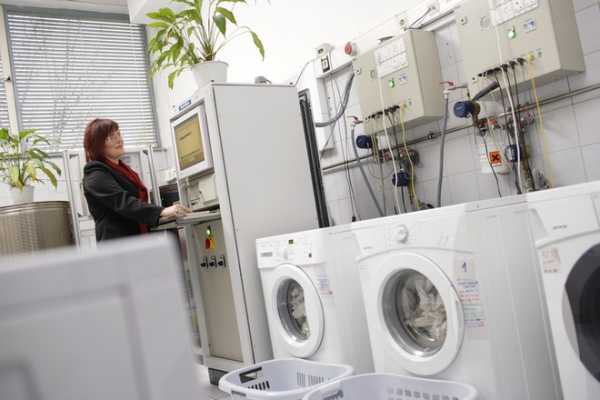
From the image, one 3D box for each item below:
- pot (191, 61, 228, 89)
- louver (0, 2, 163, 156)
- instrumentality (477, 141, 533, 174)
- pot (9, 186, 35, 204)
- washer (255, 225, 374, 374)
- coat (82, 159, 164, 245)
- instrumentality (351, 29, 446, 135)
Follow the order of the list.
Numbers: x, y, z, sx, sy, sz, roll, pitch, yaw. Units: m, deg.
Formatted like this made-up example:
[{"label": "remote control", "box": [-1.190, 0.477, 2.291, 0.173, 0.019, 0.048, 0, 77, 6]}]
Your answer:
[{"label": "pot", "box": [-0.689, -0.908, 2.908, 0.232, 0.166, 0.239, -7, -10, -1]}, {"label": "louver", "box": [-3.027, -1.638, 5.206, 2.335, 2.707, 0.123, -3, -1, -29]}, {"label": "instrumentality", "box": [1.252, -0.268, 2.411, 0.226, 0.206, 0.284, -9, 2, -38]}, {"label": "pot", "box": [-2.859, -0.050, 3.990, 0.213, 0.163, 0.215, -1, 0, 0]}, {"label": "washer", "box": [0.093, 0.557, 2.747, 0.772, 1.105, 0.785, 1, -6, -37]}, {"label": "coat", "box": [-1.177, -0.007, 2.682, 0.577, 0.539, 0.287, -5, -7, 6]}, {"label": "instrumentality", "box": [0.704, -0.855, 2.914, 0.260, 0.599, 0.632, -9, 0, -32]}]
